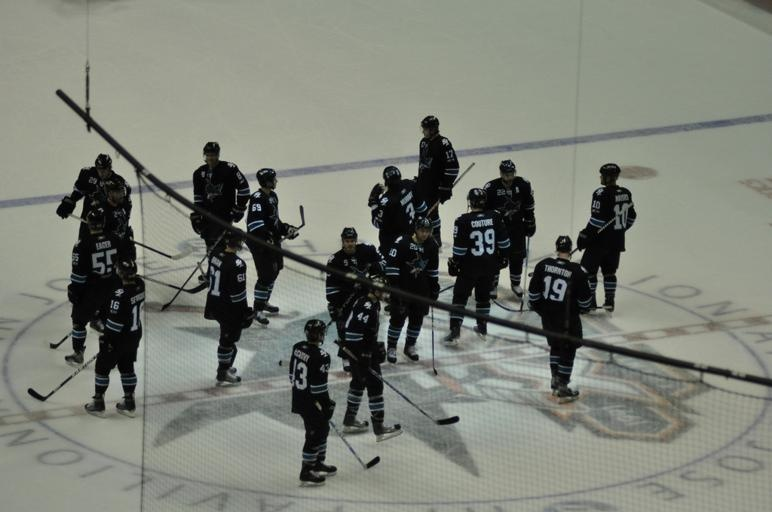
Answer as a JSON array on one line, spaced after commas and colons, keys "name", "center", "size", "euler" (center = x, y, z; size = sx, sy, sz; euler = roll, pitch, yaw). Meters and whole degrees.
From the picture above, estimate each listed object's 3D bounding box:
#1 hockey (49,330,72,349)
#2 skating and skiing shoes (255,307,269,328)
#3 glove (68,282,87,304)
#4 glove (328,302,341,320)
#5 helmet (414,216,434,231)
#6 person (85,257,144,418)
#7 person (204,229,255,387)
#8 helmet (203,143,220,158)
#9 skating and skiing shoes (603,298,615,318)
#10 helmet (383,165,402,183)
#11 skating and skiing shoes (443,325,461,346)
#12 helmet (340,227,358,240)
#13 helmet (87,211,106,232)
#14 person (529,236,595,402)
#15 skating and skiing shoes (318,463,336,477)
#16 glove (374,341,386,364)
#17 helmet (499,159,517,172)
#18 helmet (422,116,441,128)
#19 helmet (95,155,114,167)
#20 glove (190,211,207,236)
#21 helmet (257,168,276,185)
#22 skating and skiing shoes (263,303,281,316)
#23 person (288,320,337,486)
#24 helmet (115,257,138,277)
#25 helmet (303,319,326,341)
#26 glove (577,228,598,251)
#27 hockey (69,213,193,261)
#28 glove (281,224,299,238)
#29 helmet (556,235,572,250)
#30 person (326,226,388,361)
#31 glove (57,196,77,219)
[{"name": "hockey", "center": [-5.004, 1.285, 15.404], "size": [0.251, 0.065, 0.168], "euler": [-34, 26, -24]}, {"name": "skating and skiing shoes", "center": [-1.939, 0.943, 15.685], "size": [0.132, 0.152, 0.355], "euler": [-16, 28, -28]}, {"name": "glove", "center": [-4.509, 0.534, 14.686], "size": [0.289, 0.349, 0.210], "euler": [-1, 15, -40]}, {"name": "glove", "center": [-0.756, 0.811, 14.695], "size": [0.185, 0.238, 0.116], "euler": [5, 1, -4]}, {"name": "helmet", "center": [0.566, -0.494, 14.884], "size": [0.260, 0.198, 0.254], "euler": [9, -20, -8]}, {"name": "person", "center": [-3.742, 1.156, 14.026], "size": [0.628, 1.911, 0.526], "euler": [5, 1, -12]}, {"name": "person", "center": [-2.243, 0.767, 14.413], "size": [0.554, 2.001, 0.621], "euler": [4, 1, -36]}, {"name": "helmet", "center": [-2.794, -1.724, 16.231], "size": [0.271, 0.285, 0.321], "euler": [0, -11, -6]}, {"name": "skating and skiing shoes", "center": [3.576, 0.819, 16.058], "size": [0.162, 0.257, 0.136], "euler": [2, 8, 11]}, {"name": "helmet", "center": [0.139, -1.293, 15.929], "size": [0.275, 0.290, 0.304], "euler": [-4, 15, -10]}, {"name": "skating and skiing shoes", "center": [1.095, 1.233, 15.348], "size": [0.142, 0.269, 0.401], "euler": [0, 7, -44]}, {"name": "helmet", "center": [-0.557, -0.308, 14.689], "size": [0.180, 0.189, 0.217], "euler": [1, 18, 1]}, {"name": "helmet", "center": [-4.188, -0.503, 14.629], "size": [0.244, 0.276, 0.296], "euler": [2, 34, -13]}, {"name": "person", "center": [2.462, 0.866, 14.354], "size": [0.815, 2.322, 0.610], "euler": [6, 1, 45]}, {"name": "skating and skiing shoes", "center": [-0.787, 2.804, 13.252], "size": [0.323, 0.116, 0.112], "euler": [9, 16, -10]}, {"name": "glove", "center": [-0.076, 1.313, 13.646], "size": [0.101, 0.280, 0.238], "euler": [5, 1, 11]}, {"name": "helmet", "center": [1.992, -1.433, 16.166], "size": [0.261, 0.270, 0.293], "euler": [-4, 0, -10]}, {"name": "helmet", "center": [0.740, -2.209, 16.710], "size": [0.314, 0.254, 0.234], "euler": [15, 9, 1]}, {"name": "helmet", "center": [-4.357, -1.449, 15.516], "size": [0.223, 0.244, 0.265], "euler": [-1, 23, -12]}, {"name": "glove", "center": [-2.987, -0.527, 16.007], "size": [0.088, 0.308, 0.342], "euler": [-38, -2, -35]}, {"name": "helmet", "center": [-1.862, -1.227, 15.682], "size": [0.303, 0.227, 0.222], "euler": [-13, 40, -4]}, {"name": "skating and skiing shoes", "center": [-1.805, 0.847, 15.958], "size": [0.308, 0.114, 0.099], "euler": [5, 36, -26]}, {"name": "person", "center": [-0.941, 1.910, 13.174], "size": [0.720, 2.007, 0.371], "euler": [5, 1, -6]}, {"name": "helmet", "center": [-3.576, 0.154, 13.962], "size": [0.284, 0.290, 0.334], "euler": [-5, 27, -32]}, {"name": "helmet", "center": [-0.948, 0.990, 13.236], "size": [0.235, 0.273, 0.295], "euler": [0, -15, -5]}, {"name": "glove", "center": [3.182, -0.269, 16.001], "size": [0.270, 0.318, 0.332], "euler": [13, 38, -8]}, {"name": "hockey", "center": [-3.975, -0.288, 15.824], "size": [1.848, 0.228, 0.112], "euler": [19, 51, 14]}, {"name": "glove", "center": [-1.489, -0.397, 16.013], "size": [0.223, 0.100, 0.217], "euler": [-7, -15, 27]}, {"name": "helmet", "center": [2.570, -0.179, 14.586], "size": [0.199, 0.215, 0.238], "euler": [2, 20, 2]}, {"name": "person", "center": [-0.427, 0.596, 14.993], "size": [1.012, 2.110, 0.659], "euler": [-14, 31, -16]}, {"name": "glove", "center": [-5.043, -0.763, 15.906], "size": [0.275, 0.361, 0.102], "euler": [33, 0, -3]}]
